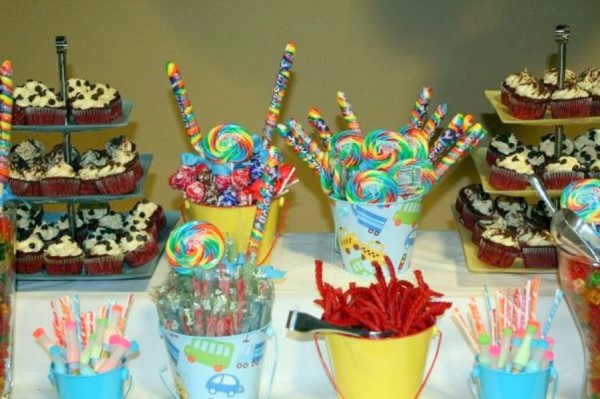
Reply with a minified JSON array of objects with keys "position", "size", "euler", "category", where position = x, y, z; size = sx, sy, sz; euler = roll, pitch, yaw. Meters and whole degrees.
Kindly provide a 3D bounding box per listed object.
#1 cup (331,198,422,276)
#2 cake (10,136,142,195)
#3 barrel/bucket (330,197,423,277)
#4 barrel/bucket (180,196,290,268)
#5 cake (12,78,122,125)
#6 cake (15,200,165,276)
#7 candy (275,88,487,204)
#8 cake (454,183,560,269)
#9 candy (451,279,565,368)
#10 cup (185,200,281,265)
[{"position":[0.264,0.092,1.824],"size":[0.267,0.191,0.267],"euler":[-2,8,0],"category":"cup"},{"position":[-0.846,-0.137,1.999],"size":[0.550,0.211,0.456],"euler":[1,6,-1],"category":"cake"},{"position":[0.271,0.118,1.899],"size":[0.338,0.257,0.337],"euler":[-4,9,1],"category":"barrel/bucket"},{"position":[-0.209,0.083,1.748],"size":[0.274,0.205,0.272],"euler":[1,11,0],"category":"barrel/bucket"},{"position":[-0.822,-0.343,1.924],"size":[0.328,0.118,0.197],"euler":[0,17,-8],"category":"cake"},{"position":[-0.738,0.143,1.855],"size":[0.445,0.149,0.275],"euler":[2,20,0],"category":"cake"},{"position":[0.262,-0.197,1.826],"size":[0.678,0.394,0.319],"euler":[0,6,-8],"category":"candy"},{"position":[0.746,0.092,1.974],"size":[0.255,0.118,0.352],"euler":[3,22,4],"category":"cake"},{"position":[0.562,0.363,1.572],"size":[0.277,0.306,0.271],"euler":[-4,29,11],"category":"candy"},{"position":[-0.201,0.069,1.840],"size":[0.254,0.182,0.251],"euler":[1,6,0],"category":"cup"}]
